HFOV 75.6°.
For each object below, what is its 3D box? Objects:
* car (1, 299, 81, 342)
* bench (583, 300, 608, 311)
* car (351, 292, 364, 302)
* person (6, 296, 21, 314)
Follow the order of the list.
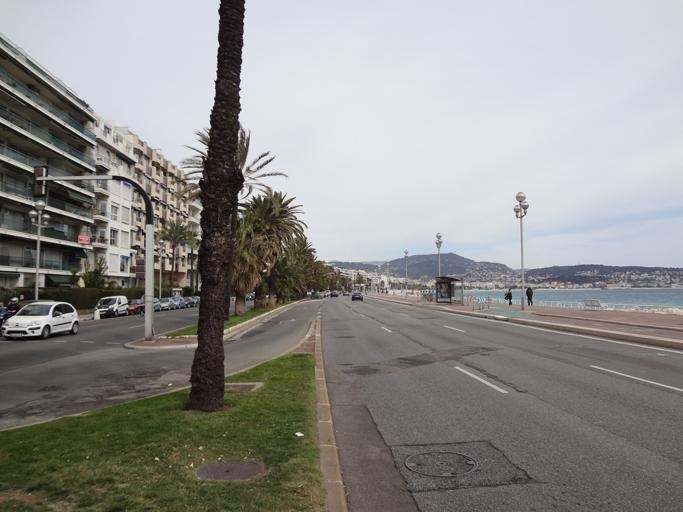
[{"bbox_3d":[-15.119,3.219,22.175,1.711,1.172,2.682,-2,-13,0],"label":"car"},{"bbox_3d":[21.416,4.142,37.412,1.662,0.853,3.618,-6,-8,28],"label":"bench"},{"bbox_3d":[2.625,7.094,76.405,1.327,0.960,2.301,-1,-14,1],"label":"car"},{"bbox_3d":[-19.463,2.933,26.175,0.508,0.592,1.055,8,-54,-27],"label":"person"}]
